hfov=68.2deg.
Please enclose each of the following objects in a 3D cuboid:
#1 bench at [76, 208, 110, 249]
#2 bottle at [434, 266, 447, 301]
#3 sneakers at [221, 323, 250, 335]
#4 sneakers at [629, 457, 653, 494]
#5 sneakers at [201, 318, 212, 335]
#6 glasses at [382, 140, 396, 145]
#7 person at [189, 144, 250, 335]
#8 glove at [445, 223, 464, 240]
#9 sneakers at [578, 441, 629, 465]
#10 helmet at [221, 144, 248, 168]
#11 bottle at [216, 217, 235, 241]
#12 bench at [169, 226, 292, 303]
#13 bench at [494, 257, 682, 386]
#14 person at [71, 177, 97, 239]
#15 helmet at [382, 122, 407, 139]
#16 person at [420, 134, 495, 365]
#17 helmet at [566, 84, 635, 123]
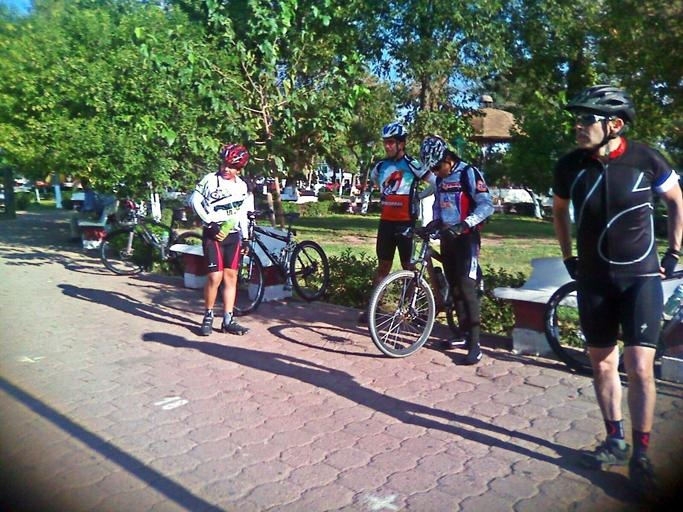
[{"bbox_3d":[-7.025,-0.758,13.968,0.873,1.076,0.839,5,4,30],"label":"bench"},{"bbox_3d":[1.162,0.321,5.948,0.079,0.330,0.341,-18,-12,3],"label":"bottle"},{"bbox_3d":[-1.372,0.941,6.552,0.349,0.139,0.140,2,9,9],"label":"sneakers"},{"bbox_3d":[2.016,1.470,3.428,0.121,0.113,0.257,-5,19,14],"label":"sneakers"},{"bbox_3d":[-1.727,0.898,6.480,0.144,0.202,0.209,-3,11,-13],"label":"sneakers"},{"bbox_3d":[0.612,-1.454,6.438,0.075,0.035,0.098,2,0,41],"label":"glasses"},{"bbox_3d":[-1.545,-0.229,6.600,0.731,2.397,0.784,-4,11,-16],"label":"person"},{"bbox_3d":[1.200,-0.266,5.371,0.188,0.184,0.111,1,11,10],"label":"glove"},{"bbox_3d":[1.897,1.423,3.728,0.415,0.188,0.149,-2,6,8],"label":"sneakers"},{"bbox_3d":[-1.381,-1.318,6.592,0.270,0.288,0.350,22,37,11],"label":"helmet"},{"bbox_3d":[-1.482,-0.341,6.481,0.154,0.315,0.081,42,-21,-14],"label":"bottle"},{"bbox_3d":[-2.012,0.146,8.533,2.166,1.253,1.082,0,3,-19],"label":"bench"},{"bbox_3d":[2.599,0.599,5.765,2.046,1.216,1.031,2,4,28],"label":"bench"},{"bbox_3d":[-7.450,-1.255,14.753,0.717,1.619,0.502,5,26,-29],"label":"person"},{"bbox_3d":[0.676,-1.612,6.469,0.280,0.170,0.200,1,10,-11],"label":"helmet"},{"bbox_3d":[1.308,-0.100,5.650,0.597,2.449,0.799,-9,13,-38],"label":"person"},{"bbox_3d":[1.875,-1.072,3.612,0.411,0.190,0.272,5,16,-3],"label":"helmet"}]
